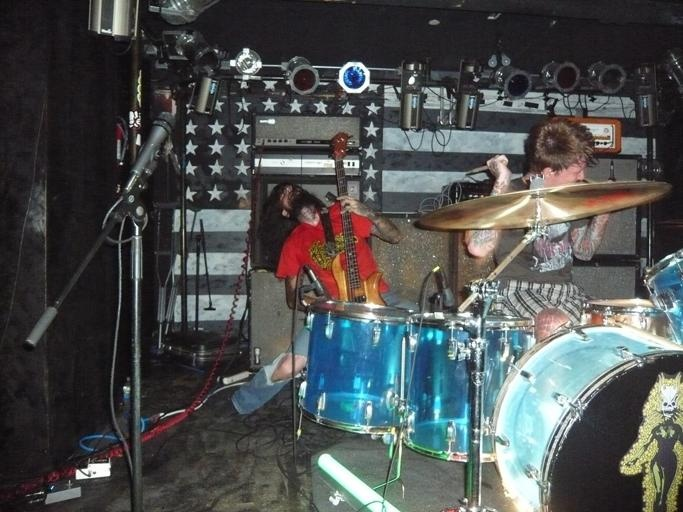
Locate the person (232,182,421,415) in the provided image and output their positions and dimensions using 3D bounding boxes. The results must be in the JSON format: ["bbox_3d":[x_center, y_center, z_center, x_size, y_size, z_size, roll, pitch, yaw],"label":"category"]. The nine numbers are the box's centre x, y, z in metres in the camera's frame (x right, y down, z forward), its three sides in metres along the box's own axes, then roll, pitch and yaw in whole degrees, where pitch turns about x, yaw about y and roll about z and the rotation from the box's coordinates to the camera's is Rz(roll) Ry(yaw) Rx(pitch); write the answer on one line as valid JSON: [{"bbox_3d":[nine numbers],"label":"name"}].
[{"bbox_3d":[-0.158,0.327,6.559,1.213,1.855,0.559,-1,-7,5],"label":"person"}]

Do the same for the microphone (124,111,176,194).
[{"bbox_3d":[-1.181,-0.632,4.869,0.288,0.559,0.219,3,-2,-17],"label":"microphone"}]

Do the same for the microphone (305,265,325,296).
[{"bbox_3d":[-0.175,0.171,5.382,0.140,0.192,0.336,2,-2,4],"label":"microphone"}]

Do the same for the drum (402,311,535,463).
[{"bbox_3d":[0.787,0.866,5.394,0.932,0.915,0.918,2,-9,1],"label":"drum"}]

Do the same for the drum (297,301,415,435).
[{"bbox_3d":[0.073,0.706,5.569,0.803,0.785,0.809,9,6,-21],"label":"drum"}]

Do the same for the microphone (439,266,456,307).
[{"bbox_3d":[0.651,0.197,4.919,0.085,0.257,0.076,-25,14,-37],"label":"microphone"}]

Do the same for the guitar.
[{"bbox_3d":[0.100,-0.249,6.345,0.153,1.255,0.372,8,-21,-44],"label":"guitar"}]

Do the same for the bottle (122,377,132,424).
[{"bbox_3d":[-1.621,1.057,5.958,0.057,0.283,0.370,3,-2,-17],"label":"bottle"}]
